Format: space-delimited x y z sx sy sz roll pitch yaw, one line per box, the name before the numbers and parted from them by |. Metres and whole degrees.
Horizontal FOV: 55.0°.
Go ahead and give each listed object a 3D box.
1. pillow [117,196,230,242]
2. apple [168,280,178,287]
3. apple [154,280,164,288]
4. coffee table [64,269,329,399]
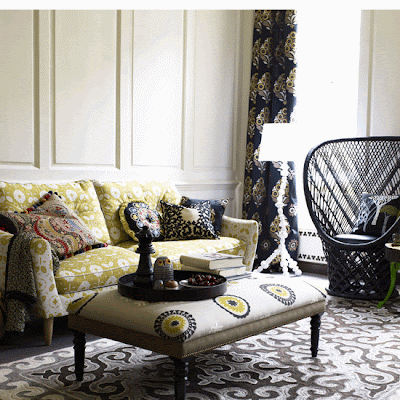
pillow | -0.204 0.166 3.277 0.565 0.151 0.472 -17 27 -33
apple | -0.113 0.349 1.620 0.032 0.017 0.030 -3 9 -23
apple | -0.176 0.358 1.641 0.039 0.033 0.031 -9 29 -16
coffee table | 0.005 0.612 1.877 0.669 0.429 1.026 0 0 45
